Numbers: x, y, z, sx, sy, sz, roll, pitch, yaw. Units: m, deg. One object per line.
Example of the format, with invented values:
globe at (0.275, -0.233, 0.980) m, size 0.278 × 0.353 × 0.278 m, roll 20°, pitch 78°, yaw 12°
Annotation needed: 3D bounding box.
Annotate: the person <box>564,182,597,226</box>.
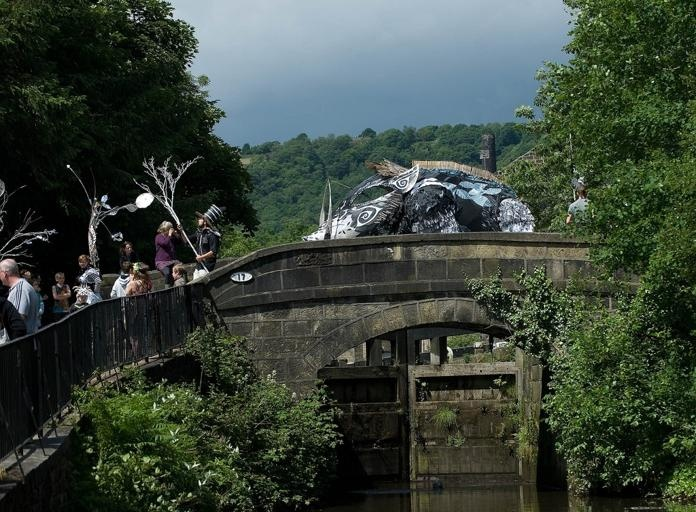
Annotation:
person at (5.032, -1.251, 27.250) m, size 0.483 × 1.041 × 1.425 m, roll -2°, pitch -2°, yaw 10°
